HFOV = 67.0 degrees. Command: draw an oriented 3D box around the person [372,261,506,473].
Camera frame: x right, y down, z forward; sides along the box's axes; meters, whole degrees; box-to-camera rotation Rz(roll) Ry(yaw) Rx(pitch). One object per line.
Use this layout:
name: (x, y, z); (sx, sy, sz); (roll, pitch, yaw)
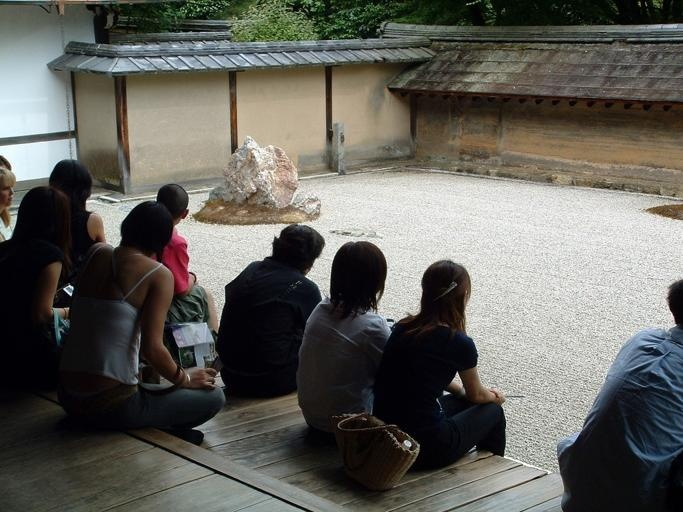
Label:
person: (0.545, 0.549, 2.630); (0.712, 0.695, 0.320); (4, 4, -30)

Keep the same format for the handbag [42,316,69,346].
handbag: (-1.662, 0.421, 3.005); (0.222, 0.160, 0.073); (23, 23, 36)

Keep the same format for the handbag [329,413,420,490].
handbag: (0.120, 0.873, 2.335); (0.311, 0.285, 0.406); (15, -3, -40)

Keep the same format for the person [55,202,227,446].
person: (-1.110, 0.325, 2.817); (0.908, 1.125, 0.736); (8, -7, 28)
